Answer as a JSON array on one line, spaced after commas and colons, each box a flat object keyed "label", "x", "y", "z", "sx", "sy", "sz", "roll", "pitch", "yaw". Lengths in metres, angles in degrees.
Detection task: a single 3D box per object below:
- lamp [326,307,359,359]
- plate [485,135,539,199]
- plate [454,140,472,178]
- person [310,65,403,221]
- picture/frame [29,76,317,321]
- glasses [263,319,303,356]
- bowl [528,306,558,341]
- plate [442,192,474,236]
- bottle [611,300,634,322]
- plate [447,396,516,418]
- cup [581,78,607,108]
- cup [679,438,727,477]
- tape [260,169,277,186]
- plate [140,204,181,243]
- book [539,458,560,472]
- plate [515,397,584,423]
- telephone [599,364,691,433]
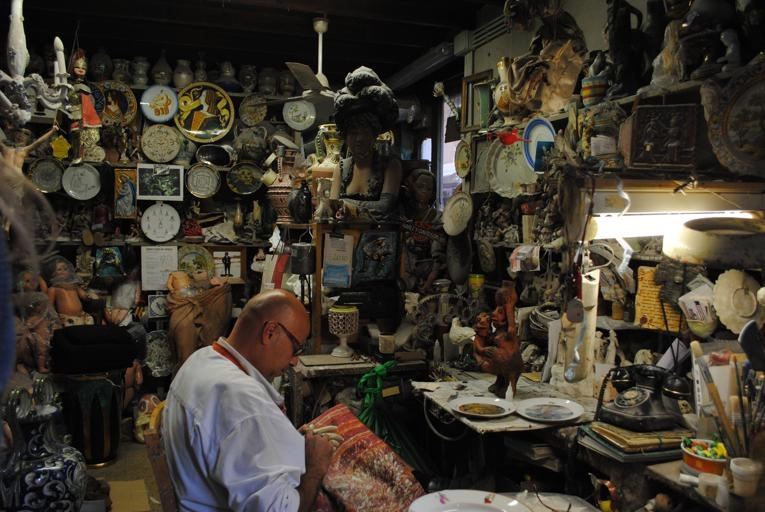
[{"label": "lamp", "x": -0.307, "y": 0.588, "z": 4.986, "sx": 0.339, "sy": 0.521, "sz": 0.342, "roll": 1, "pitch": -3, "yaw": -3}, {"label": "plate", "x": 1.041, "y": -0.703, "z": 5.203, "sx": 0.136, "sy": 0.422, "sz": 0.412, "roll": 5, "pitch": -14, "yaw": -28}, {"label": "plate", "x": 0.719, "y": -0.870, "z": 5.748, "sx": 0.083, "sy": 0.238, "sz": 0.371, "roll": 1, "pitch": 0, "yaw": -10}, {"label": "person", "x": -0.245, "y": -0.908, "z": 5.299, "sx": 0.574, "sy": 1.298, "sz": 0.871, "roll": 1, "pitch": 1, "yaw": 39}, {"label": "picture/frame", "x": -2.192, "y": -0.557, "z": 6.439, "sx": 2.716, "sy": 2.770, "sz": 0.144, "roll": 0, "pitch": -3, "yaw": -12}, {"label": "glasses", "x": -0.530, "y": 0.448, "z": 3.354, "sx": 0.177, "sy": 0.055, "sz": 0.182, "roll": 38, "pitch": 7, "yaw": -45}, {"label": "bowl", "x": 1.106, "y": 0.472, "z": 4.571, "sx": 0.195, "sy": 0.178, "sz": 0.239, "roll": 12, "pitch": 20, "yaw": 39}, {"label": "plate", "x": 0.598, "y": -0.337, "z": 5.218, "sx": 0.059, "sy": 0.309, "sz": 0.309, "roll": 4, "pitch": -39, "yaw": -35}, {"label": "bottle", "x": 1.596, "y": 0.367, "z": 4.302, "sx": 0.125, "sy": 0.134, "sz": 0.079, "roll": 6, "pitch": -2, "yaw": 15}, {"label": "plate", "x": 0.588, "y": 0.913, "z": 3.891, "sx": 0.376, "sy": 0.078, "sz": 0.309, "roll": 1, "pitch": 0, "yaw": 39}, {"label": "cup", "x": 1.338, "y": -1.010, "z": 4.120, "sx": 0.170, "sy": 0.193, "sz": 0.176, "roll": 2, "pitch": -3, "yaw": 0}, {"label": "cup", "x": 1.647, "y": 1.023, "z": 3.294, "sx": 0.170, "sy": 0.086, "sz": 0.164, "roll": 4, "pitch": -2, "yaw": 0}, {"label": "tape", "x": -1.258, "y": -0.861, "z": 7.055, "sx": 0.131, "sy": 0.136, "sz": 0.140, "roll": -37, "pitch": -10, "yaw": -37}, {"label": "plate", "x": -2.404, "y": -0.357, "z": 6.941, "sx": 0.401, "sy": 0.436, "sz": 0.143, "roll": 1, "pitch": 1, "yaw": -22}, {"label": "book", "x": 1.001, "y": 1.249, "z": 3.864, "sx": 0.114, "sy": 0.091, "sz": 0.042, "roll": 0, "pitch": 8, "yaw": 18}, {"label": "plate", "x": 0.988, "y": 0.921, "z": 3.845, "sx": 0.375, "sy": 0.104, "sz": 0.287, "roll": 1, "pitch": 0, "yaw": 33}, {"label": "telephone", "x": 1.468, "y": 0.800, "z": 3.623, "sx": 0.331, "sy": 0.369, "sz": 0.505, "roll": 8, "pitch": -10, "yaw": -33}]
